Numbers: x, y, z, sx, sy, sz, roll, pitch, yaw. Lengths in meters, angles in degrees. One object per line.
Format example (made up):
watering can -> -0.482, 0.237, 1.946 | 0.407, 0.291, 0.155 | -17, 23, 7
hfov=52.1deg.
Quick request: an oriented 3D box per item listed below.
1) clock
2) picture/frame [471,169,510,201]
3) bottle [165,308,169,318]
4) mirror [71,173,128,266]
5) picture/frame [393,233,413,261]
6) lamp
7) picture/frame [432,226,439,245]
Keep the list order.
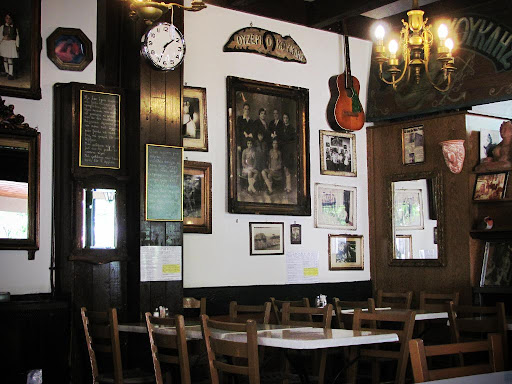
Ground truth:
clock -> -0.948, -1.480, 5.323 | 0.436, 0.487, 0.193 | 2, -3, -21
picture/frame -> 2.974, -0.083, 6.585 | 0.326, 0.391, 0.040 | 14, -7, 38
bottle -> -0.879, 1.188, 5.157 | 0.053, 0.066, 0.068 | 3, -18, -10
mirror -> -1.593, 0.241, 5.358 | 0.537, 0.813, 0.145 | 1, -3, -11
picture/frame -> 2.040, 0.761, 7.230 | 0.344, 0.503, 0.048 | -3, -5, 42
lamp -> 2.025, -1.797, 6.562 | 1.187, 1.750, 0.882 | 5, 7, 22
picture/frame -> 2.387, 0.574, 6.936 | 0.007, 0.232, 0.081 | 3, -3, -43
